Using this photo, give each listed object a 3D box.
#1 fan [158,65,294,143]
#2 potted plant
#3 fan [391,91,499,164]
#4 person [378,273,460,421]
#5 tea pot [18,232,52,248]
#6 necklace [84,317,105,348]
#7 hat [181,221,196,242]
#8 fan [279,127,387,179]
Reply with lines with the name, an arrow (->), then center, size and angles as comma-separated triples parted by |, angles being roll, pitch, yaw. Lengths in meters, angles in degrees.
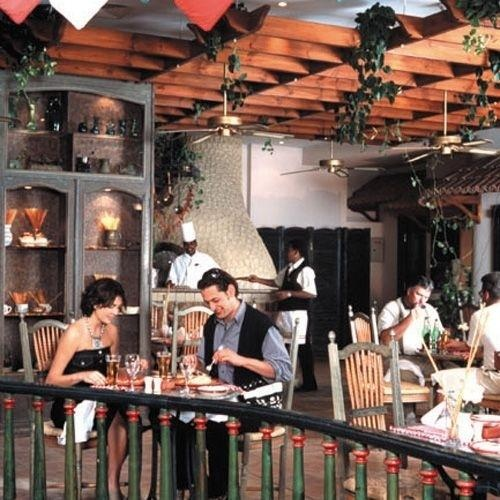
fan -> -0.256, -1.332, 6.322 | 1.053, 0.610, 1.004 | 4, 9, 18
potted plant -> -0.931, -1.103, 9.906 | 0.655, 1.203, 0.632 | -5, 9, -12
fan -> 2.108, -1.342, 7.868 | 0.747, 0.541, 0.773 | 1, 3, -12
person -> 1.261, 0.829, 5.907 | 0.544, 1.250, 0.421 | -7, 19, -20
tea pot -> -1.794, -0.084, 6.100 | 0.267, 0.118, 0.058 | 4, -5, -45
necklace -> -0.872, 0.452, 4.067 | 0.037, 0.196, 0.153 | -11, -12, 43
hat -> -0.757, -0.216, 8.852 | 0.148, 0.264, 0.168 | 7, 30, 37
fan -> 1.134, -1.196, 9.112 | 0.826, 0.425, 1.115 | 11, 21, 40
